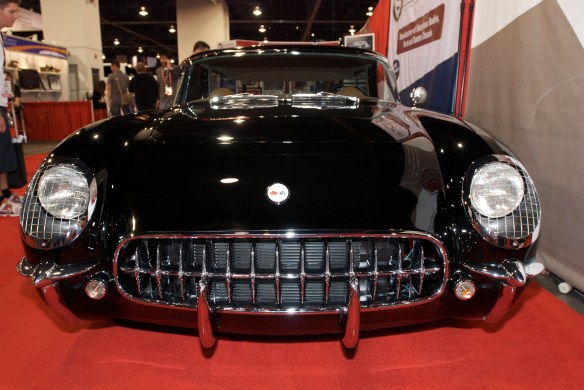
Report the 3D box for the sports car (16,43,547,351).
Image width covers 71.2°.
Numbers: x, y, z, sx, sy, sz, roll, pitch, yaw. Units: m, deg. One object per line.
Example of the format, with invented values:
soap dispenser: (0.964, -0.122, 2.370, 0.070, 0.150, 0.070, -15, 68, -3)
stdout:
sports car: (-0.060, -0.088, 2.966, 1.493, 1.029, 2.417, 0, 0, 0)
